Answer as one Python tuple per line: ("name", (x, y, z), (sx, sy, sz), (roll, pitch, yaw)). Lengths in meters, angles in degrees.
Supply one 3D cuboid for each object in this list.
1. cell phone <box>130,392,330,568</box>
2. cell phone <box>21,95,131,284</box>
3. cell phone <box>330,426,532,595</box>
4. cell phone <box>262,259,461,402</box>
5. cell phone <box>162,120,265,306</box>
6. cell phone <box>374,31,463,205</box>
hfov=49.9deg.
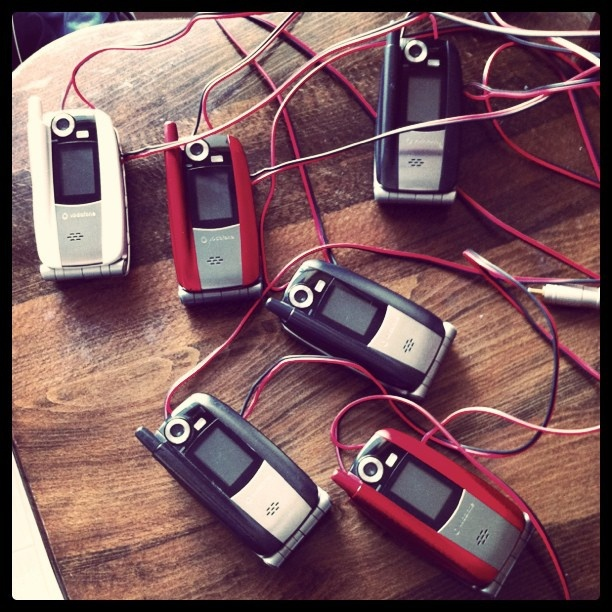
("cell phone", (-0.082, 0.207, 0.834), (0.247, 0.080, 0.127), (41, 85, 3))
("cell phone", (-0.272, -0.135, 0.804), (0.141, 0.075, 0.205), (-6, 89, -3))
("cell phone", (0.146, 0.228, 0.803), (0.254, 0.081, 0.129), (36, 86, 0))
("cell phone", (0.063, 0.024, 0.838), (0.252, 0.070, 0.116), (27, 88, -6))
("cell phone", (-0.119, -0.112, 0.798), (0.123, 0.055, 0.198), (-8, 91, -3))
("cell phone", (0.150, -0.238, 0.857), (0.126, 0.065, 0.199), (2, 95, 1))
